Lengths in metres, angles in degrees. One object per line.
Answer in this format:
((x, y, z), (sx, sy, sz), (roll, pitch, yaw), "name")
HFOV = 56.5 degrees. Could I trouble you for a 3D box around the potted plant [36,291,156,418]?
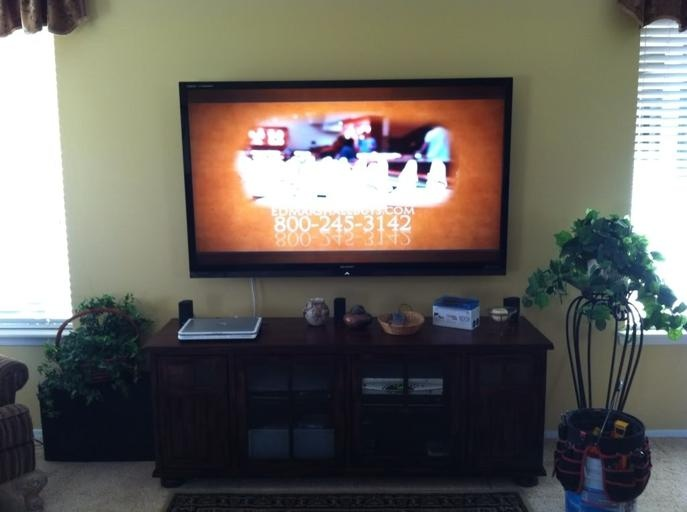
((-1.556, 0.624, 4.169), (0.561, 0.839, 0.390), (-3, -22, 0), "potted plant")
